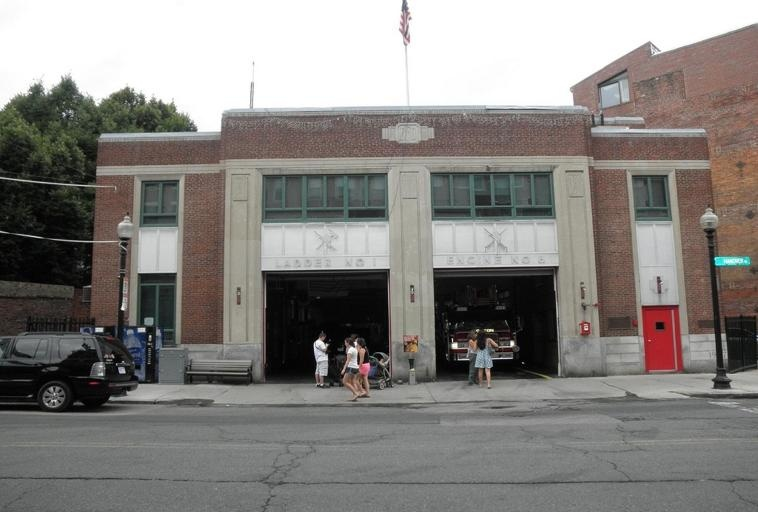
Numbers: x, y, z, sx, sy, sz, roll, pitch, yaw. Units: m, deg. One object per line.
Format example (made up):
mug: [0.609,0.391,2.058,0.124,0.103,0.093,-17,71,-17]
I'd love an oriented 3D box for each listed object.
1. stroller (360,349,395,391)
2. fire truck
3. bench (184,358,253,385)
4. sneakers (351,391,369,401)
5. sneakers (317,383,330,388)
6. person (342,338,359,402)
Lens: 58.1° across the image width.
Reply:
stroller: [-0.111,4.383,26.475,1.015,1.287,1.038,-4,-6,35]
fire truck: [4.763,3.326,33.938,3.507,3.202,6.673,0,-3,0]
bench: [-6.284,4.482,26.787,2.491,0.963,0.942,2,-8,-15]
sneakers: [-0.660,4.773,23.351,0.704,0.261,0.229,5,-18,-27]
sneakers: [-2.160,4.949,26.308,0.567,0.224,0.187,-1,-5,6]
person: [-0.941,3.819,23.289,0.509,2.070,1.133,0,-8,-3]
